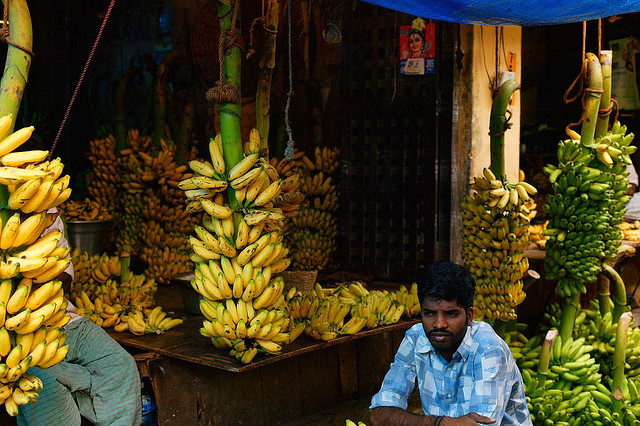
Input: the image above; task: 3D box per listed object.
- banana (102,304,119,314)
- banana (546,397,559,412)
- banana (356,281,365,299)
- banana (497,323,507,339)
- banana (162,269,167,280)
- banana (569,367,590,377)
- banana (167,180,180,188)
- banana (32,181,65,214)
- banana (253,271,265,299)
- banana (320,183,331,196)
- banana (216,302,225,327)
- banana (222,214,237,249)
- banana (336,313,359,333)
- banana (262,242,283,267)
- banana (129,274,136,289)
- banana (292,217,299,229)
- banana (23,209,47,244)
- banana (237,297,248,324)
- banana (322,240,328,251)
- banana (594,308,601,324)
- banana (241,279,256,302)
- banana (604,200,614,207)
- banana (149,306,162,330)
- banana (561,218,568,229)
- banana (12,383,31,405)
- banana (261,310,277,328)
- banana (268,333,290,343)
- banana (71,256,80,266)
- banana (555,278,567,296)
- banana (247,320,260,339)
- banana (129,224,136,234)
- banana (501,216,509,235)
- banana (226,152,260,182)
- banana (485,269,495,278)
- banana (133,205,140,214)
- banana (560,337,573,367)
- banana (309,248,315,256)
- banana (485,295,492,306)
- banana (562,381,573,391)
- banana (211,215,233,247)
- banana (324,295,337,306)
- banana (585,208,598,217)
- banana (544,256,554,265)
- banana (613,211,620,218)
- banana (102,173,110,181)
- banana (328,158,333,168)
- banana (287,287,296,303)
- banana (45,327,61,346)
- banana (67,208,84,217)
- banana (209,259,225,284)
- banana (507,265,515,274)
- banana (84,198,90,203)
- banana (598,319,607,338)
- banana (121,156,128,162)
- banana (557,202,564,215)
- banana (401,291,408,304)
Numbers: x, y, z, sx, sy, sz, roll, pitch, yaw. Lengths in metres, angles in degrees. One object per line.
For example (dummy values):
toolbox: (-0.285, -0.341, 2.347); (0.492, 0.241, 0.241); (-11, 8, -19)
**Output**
banana: (-1.982, 0.911, 5.442); (0.137, 0.040, 0.076); (28, 56, 32)
banana: (2.112, 1.706, 5.264); (0.049, 0.068, 0.194); (36, 25, -1)
banana: (0.408, 0.781, 6.000); (0.039, 0.053, 0.155); (-6, 47, -6)
banana: (1.724, 1.110, 5.485); (0.069, 0.163, 0.310); (2, 5, 21)
banana: (-1.896, 0.755, 7.051); (0.048, 0.110, 0.033); (0, -3, -11)
banana: (2.373, 1.457, 5.317); (0.205, 0.076, 0.047); (-13, 7, -28)
banana: (-1.854, -0.355, 7.334); (0.132, 0.097, 0.181); (-2, 5, -27)
banana: (-1.763, -0.104, 3.738); (0.051, 0.193, 0.066); (34, 4, -46)
banana: (-0.482, 0.568, 4.603); (0.061, 0.228, 0.073); (-1, 10, -31)
banana: (0.081, -0.301, 7.551); (0.057, 0.220, 0.074); (34, -3, 9)
banana: (-0.793, 0.813, 4.614); (0.047, 0.191, 0.058); (-7, -7, 39)
banana: (-0.738, 0.135, 4.713); (0.095, 0.301, 0.076); (-13, -6, -14)
banana: (0.236, 0.979, 5.234); (0.258, 0.100, 0.065); (-34, 30, -22)
banana: (-0.386, 0.374, 4.720); (0.075, 0.096, 0.288); (24, -43, -7)
banana: (-1.922, 0.712, 5.926); (0.027, 0.049, 0.141); (16, 39, -3)
banana: (-0.322, 0.130, 7.586); (0.055, 0.181, 0.039); (-23, 2, -26)
banana: (-1.819, 0.079, 3.737); (0.065, 0.311, 0.080); (29, 25, -26)
banana: (-0.618, 0.767, 4.577); (0.054, 0.207, 0.063); (-14, -3, 6)
banana: (0.062, 0.427, 7.503); (0.060, 0.121, 0.028); (15, -6, -15)
banana: (2.752, 1.030, 5.751); (0.043, 0.058, 0.178); (7, -40, 3)
banana: (-0.562, 0.626, 4.571); (0.083, 0.175, 0.058); (7, 32, -11)
banana: (2.508, -0.079, 5.026); (0.092, 0.055, 0.027); (-2, 5, -29)
banana: (-1.502, 0.955, 5.268); (0.066, 0.056, 0.206); (23, 36, -6)
banana: (2.161, 0.100, 5.127); (0.053, 0.071, 0.037); (-40, 26, -24)
banana: (-1.942, 1.180, 3.767); (0.072, 0.127, 0.041); (-29, -3, -6)
banana: (-0.409, 0.841, 4.654); (0.051, 0.061, 0.179); (30, 30, 7)
banana: (-0.333, 1.020, 4.792); (0.065, 0.060, 0.204); (-9, -3, 44)
banana: (-2.478, 0.484, 5.890); (0.044, 0.092, 0.187); (0, 5, -7)
banana: (2.200, 0.675, 5.305); (0.037, 0.146, 0.067); (1, 15, -37)
banana: (-0.525, 0.919, 4.584); (0.107, 0.153, 0.082); (1, 5, 10)
banana: (-2.405, 0.212, 7.422); (0.042, 0.174, 0.051); (-22, -1, 18)
banana: (1.644, 0.120, 5.141); (0.042, 0.144, 0.063); (-8, 3, 25)
banana: (-0.622, -0.358, 4.669); (0.105, 0.382, 0.125); (44, -7, -18)
banana: (1.562, 0.559, 5.359); (0.120, 0.041, 0.033); (42, 33, 11)
banana: (-2.337, -0.036, 7.381); (0.084, 0.113, 0.024); (3, 5, 25)
banana: (2.301, 1.282, 5.464); (0.066, 0.308, 0.099); (18, -19, 7)
banana: (-0.107, 0.520, 7.499); (0.065, 0.082, 0.010); (0, 5, -2)
banana: (1.543, 0.810, 5.346); (0.034, 0.074, 0.040); (2, -8, 21)
banana: (2.283, 1.598, 5.356); (0.034, 0.047, 0.138); (10, 43, 36)
banana: (-0.780, 0.151, 4.646); (0.047, 0.223, 0.076); (-26, -9, -9)
banana: (0.094, 0.826, 5.503); (0.039, 0.054, 0.144); (-6, 38, -44)
banana: (2.357, -0.005, 5.034); (0.122, 0.034, 0.046); (-33, -25, 6)
banana: (2.105, 0.438, 5.319); (0.079, 0.090, 0.024); (2, 10, -3)
banana: (2.603, 0.019, 5.089); (0.074, 0.055, 0.013); (-2, 5, -32)
banana: (-2.870, -0.468, 7.748); (0.066, 0.122, 0.038); (-32, -10, -27)
banana: (0.137, -0.644, 7.599); (0.030, 0.109, 0.030); (6, -4, -36)
banana: (-0.269, 0.747, 5.234); (0.065, 0.048, 0.181); (-45, -9, -25)
banana: (-1.769, 0.811, 3.836); (0.144, 0.041, 0.048); (-44, 8, 20)
banana: (-3.034, 0.008, 7.167); (0.173, 0.078, 0.082); (-2, 5, -28)
banana: (-0.826, 0.450, 4.624); (0.059, 0.215, 0.068); (-18, -15, -7)
banana: (1.722, 0.513, 5.239); (0.048, 0.066, 0.038); (31, 5, -4)
banana: (-3.014, -0.152, 7.490); (0.029, 0.064, 0.059); (5, 3, 29)
banana: (2.744, 1.125, 5.621); (0.043, 0.190, 0.058); (3, 6, -4)
banana: (-2.556, -0.695, 7.570); (0.096, 0.065, 0.018); (3, 5, 26)
banana: (2.140, -0.035, 5.149); (0.055, 0.115, 0.048); (3, 6, 32)
banana: (0.840, 0.841, 5.753); (0.036, 0.132, 0.043); (-1, -33, 31)
